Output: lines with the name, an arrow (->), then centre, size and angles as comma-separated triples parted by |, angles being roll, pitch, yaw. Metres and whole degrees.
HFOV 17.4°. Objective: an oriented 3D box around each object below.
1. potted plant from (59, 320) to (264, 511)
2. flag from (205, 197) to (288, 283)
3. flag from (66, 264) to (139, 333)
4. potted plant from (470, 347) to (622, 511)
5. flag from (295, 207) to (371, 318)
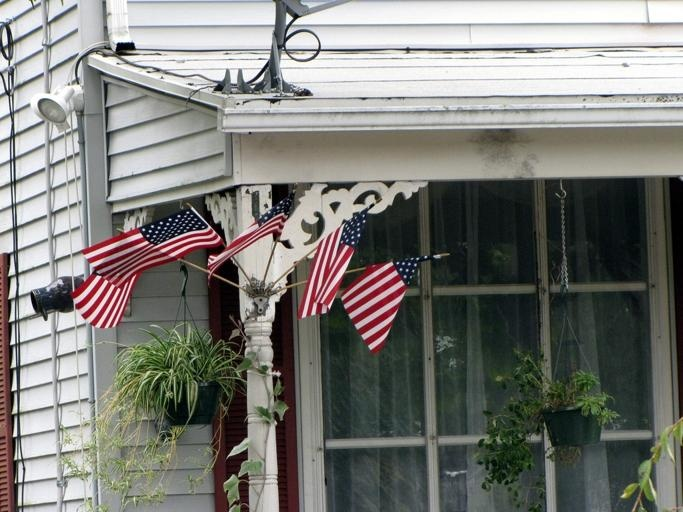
potted plant -> -1.226, 1.078, 14.957 | 0.947, 0.723, 1.525 | 7, -29, -20
flag -> -0.601, -0.109, 14.521 | 0.696, 0.418, 0.122 | -30, 25, -7
flag -> -1.526, 0.260, 14.344 | 0.331, 0.407, 0.138 | 27, -10, -34
potted plant -> 1.416, 1.177, 15.605 | 1.077, 0.952, 1.060 | -5, -18, -24
flag -> -0.037, 0.023, 14.242 | 0.294, 0.837, 0.063 | 2, -34, 18
